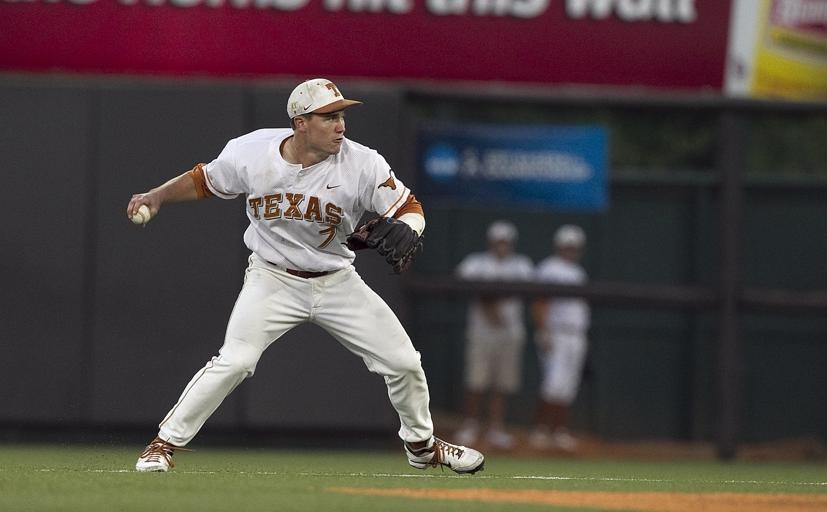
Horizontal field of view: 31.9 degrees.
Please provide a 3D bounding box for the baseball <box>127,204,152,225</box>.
[{"bbox_3d":[-1.913,-0.300,10.148,0.140,0.131,0.135,-2,-11,6],"label":"baseball"}]

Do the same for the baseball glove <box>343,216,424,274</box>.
[{"bbox_3d":[-0.192,-0.095,9.995,0.523,0.371,0.264,2,7,-5],"label":"baseball glove"}]

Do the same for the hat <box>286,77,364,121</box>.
[{"bbox_3d":[-0.629,-1.131,10.187,0.421,0.200,0.265,-2,10,16],"label":"hat"}]

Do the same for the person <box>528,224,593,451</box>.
[{"bbox_3d":[1.244,0.672,12.239,0.486,1.917,0.243,3,7,5],"label":"person"}]

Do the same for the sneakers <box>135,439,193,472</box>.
[{"bbox_3d":[-1.806,1.416,10.283,0.302,0.287,0.236,0,8,-24],"label":"sneakers"}]

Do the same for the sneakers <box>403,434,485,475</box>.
[{"bbox_3d":[0.234,1.477,10.440,0.632,0.293,0.232,2,44,5],"label":"sneakers"}]
